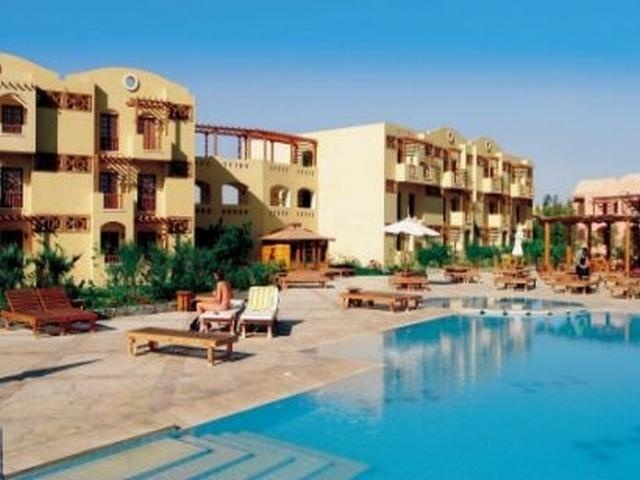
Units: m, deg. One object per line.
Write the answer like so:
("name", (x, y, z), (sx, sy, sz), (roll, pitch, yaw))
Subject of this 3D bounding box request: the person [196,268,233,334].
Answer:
("person", (-2.718, 1.510, 17.941), (0.825, 1.566, 2.363), (1, 6, -10))

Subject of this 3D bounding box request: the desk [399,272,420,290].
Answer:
("desk", (3.934, 1.751, 29.824), (0.970, 0.783, 1.968), (3, 5, 8))

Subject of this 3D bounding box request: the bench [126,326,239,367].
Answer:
("bench", (-3.125, 2.295, 15.452), (2.672, 0.693, 1.488), (6, 7, 33))

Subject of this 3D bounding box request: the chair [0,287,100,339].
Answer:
("chair", (-7.136, 1.882, 18.435), (2.007, 1.054, 2.438), (-2, 7, -38))

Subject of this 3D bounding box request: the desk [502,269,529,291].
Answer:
("desk", (8.817, 1.836, 31.131), (1.105, 0.522, 1.626), (0, -1, 11))

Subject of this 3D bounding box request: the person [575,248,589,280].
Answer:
("person", (12.566, 1.173, 33.176), (0.607, 1.428, 2.252), (4, 6, 21))
